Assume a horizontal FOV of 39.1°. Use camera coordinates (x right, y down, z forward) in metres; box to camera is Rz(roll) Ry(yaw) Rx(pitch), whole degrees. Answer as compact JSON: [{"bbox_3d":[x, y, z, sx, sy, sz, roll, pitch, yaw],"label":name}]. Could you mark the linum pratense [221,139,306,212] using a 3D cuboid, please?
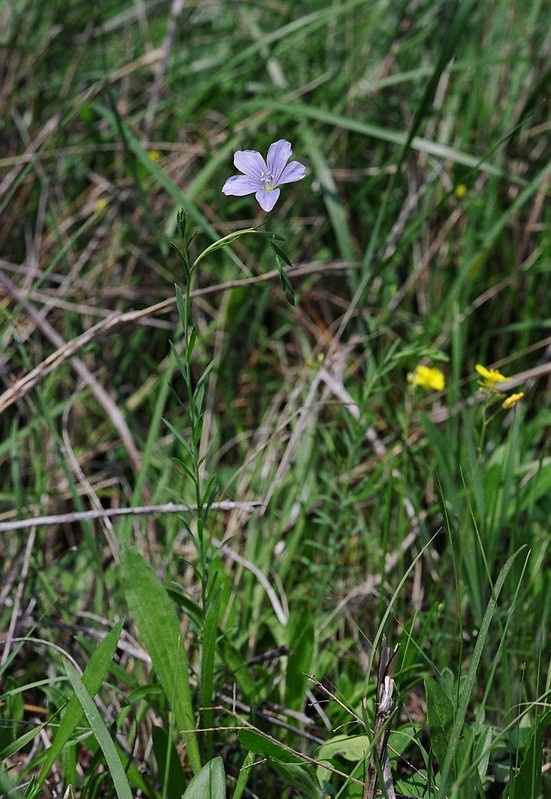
[{"bbox_3d":[-0.009,-0.396,1.361,0.139,0.043,0.156,27,19,2],"label":"linum pratense"}]
